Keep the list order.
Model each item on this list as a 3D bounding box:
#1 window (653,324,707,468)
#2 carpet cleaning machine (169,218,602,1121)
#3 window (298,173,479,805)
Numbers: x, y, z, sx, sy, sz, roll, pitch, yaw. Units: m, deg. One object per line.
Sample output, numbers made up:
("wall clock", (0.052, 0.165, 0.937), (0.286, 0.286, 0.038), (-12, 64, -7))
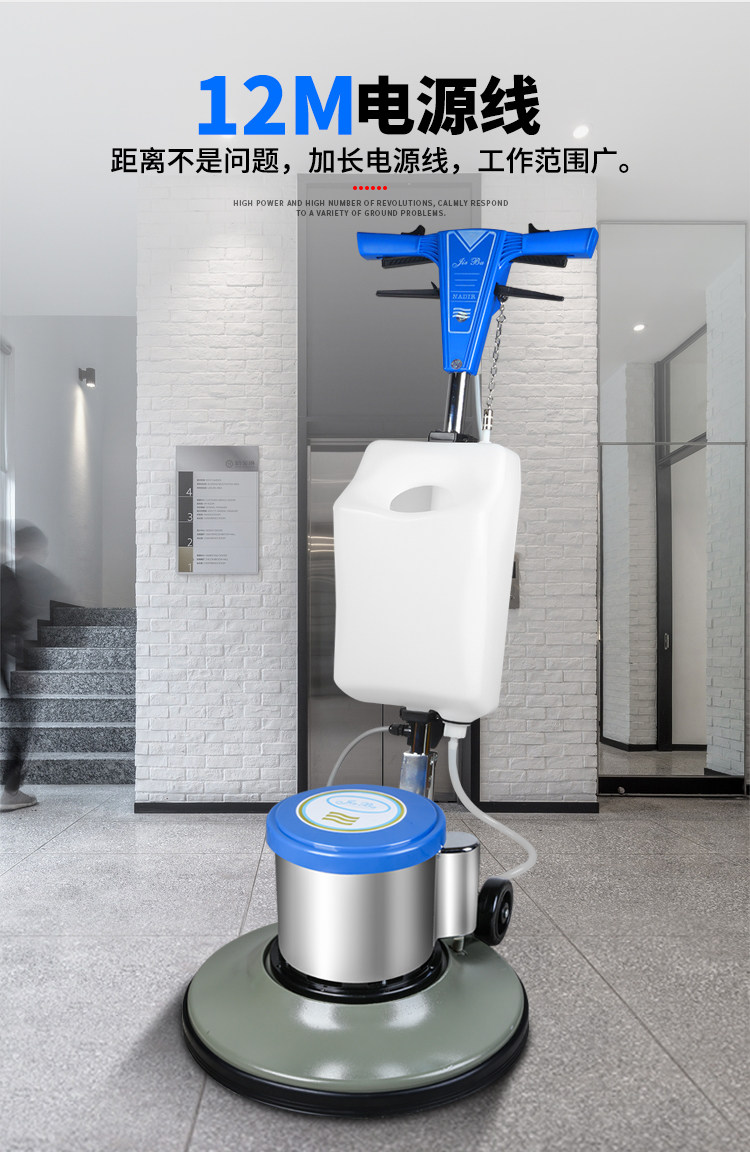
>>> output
("window", (1.310, -0.766, 4.208), (0.231, 0.583, 0.029), (0, 2, -12))
("carpet cleaning machine", (0.024, 0.057, 2.084), (0.639, 1.789, 0.809), (1, 2, 29))
("window", (-0.055, -0.258, 3.965), (0.645, 2.556, 0.115), (1, 18, -1))
